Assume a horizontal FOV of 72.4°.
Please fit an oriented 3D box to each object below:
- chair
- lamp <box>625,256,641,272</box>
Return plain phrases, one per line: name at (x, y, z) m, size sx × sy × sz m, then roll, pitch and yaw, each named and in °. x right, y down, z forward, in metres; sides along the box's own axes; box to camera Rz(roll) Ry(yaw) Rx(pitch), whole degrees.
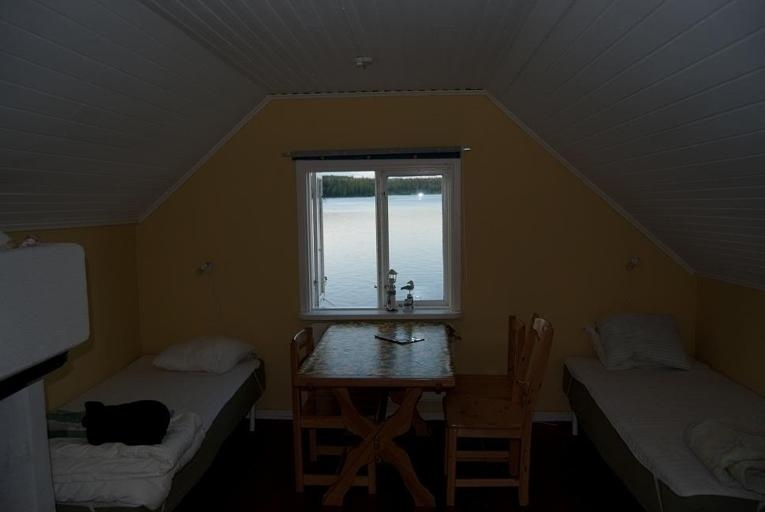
chair at (0.296, 0.934, 3.914) m, size 1.570 × 1.117 × 1.273 m, roll 1°, pitch 9°, yaw 4°
lamp at (2.095, 0.065, 4.339) m, size 0.132 × 0.119 × 0.055 m, roll 0°, pitch 1°, yaw -6°
